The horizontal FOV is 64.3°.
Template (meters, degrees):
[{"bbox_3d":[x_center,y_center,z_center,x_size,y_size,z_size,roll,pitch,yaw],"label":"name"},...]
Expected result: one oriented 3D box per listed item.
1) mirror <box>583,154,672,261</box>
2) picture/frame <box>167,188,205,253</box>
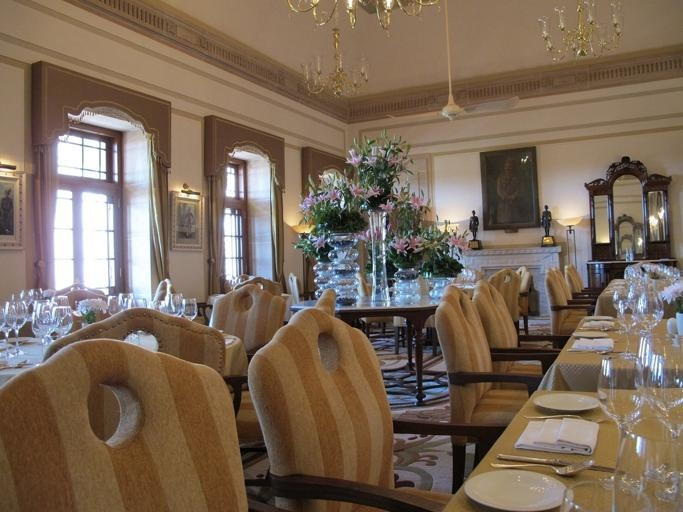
[{"bbox_3d":[5.012,-0.833,9.407,1.533,2.543,0.183,-2,0,21],"label":"mirror"},{"bbox_3d":[-2.129,-0.473,7.306,0.088,1.052,0.788,-3,-3,23],"label":"picture/frame"}]
